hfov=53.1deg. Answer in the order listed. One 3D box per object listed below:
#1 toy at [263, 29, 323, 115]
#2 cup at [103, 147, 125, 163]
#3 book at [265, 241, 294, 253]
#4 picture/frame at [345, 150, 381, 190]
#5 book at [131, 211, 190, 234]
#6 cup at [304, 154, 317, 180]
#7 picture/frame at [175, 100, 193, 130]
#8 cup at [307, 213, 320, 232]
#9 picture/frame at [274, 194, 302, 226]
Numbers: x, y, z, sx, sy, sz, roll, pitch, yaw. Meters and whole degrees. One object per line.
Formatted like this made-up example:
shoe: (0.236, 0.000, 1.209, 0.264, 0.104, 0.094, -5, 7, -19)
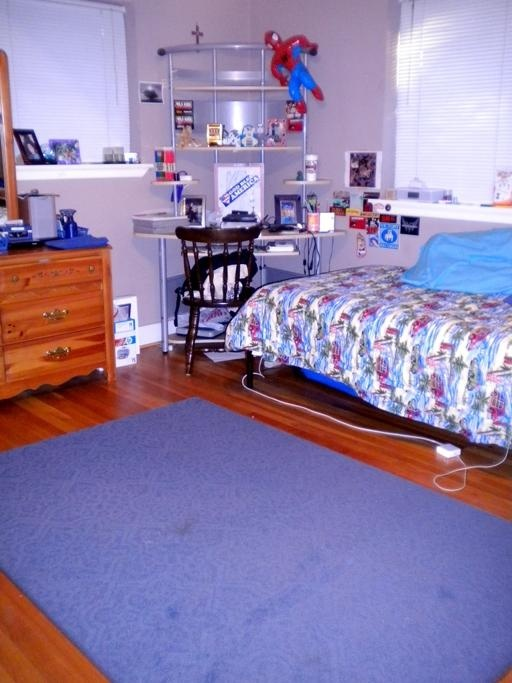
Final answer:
toy: (0.289, -1.953, 3.774, 0.403, 0.508, 0.503, 1, 9, 10)
cup: (-0.994, -1.301, 3.616, 0.136, 0.098, 0.108, 4, 13, 20)
book: (0.176, -0.660, 3.634, 0.209, 0.069, 0.171, 0, 9, 3)
picture/frame: (0.798, -1.273, 3.781, 0.285, 0.276, 0.029, 17, 23, 42)
book: (-0.710, -0.814, 3.594, 0.411, 0.153, 0.294, 1, 9, 7)
cup: (0.410, -1.303, 3.850, 0.082, 0.181, 0.063, -1, 8, -5)
picture/frame: (-0.576, -1.743, 3.970, 0.052, 0.203, 0.217, 14, 21, 43)
cup: (0.419, -0.865, 3.746, 0.089, 0.144, 0.161, -1, 9, -3)
picture/frame: (0.241, -0.979, 3.823, 0.247, 0.295, 0.032, 0, -1, -7)
